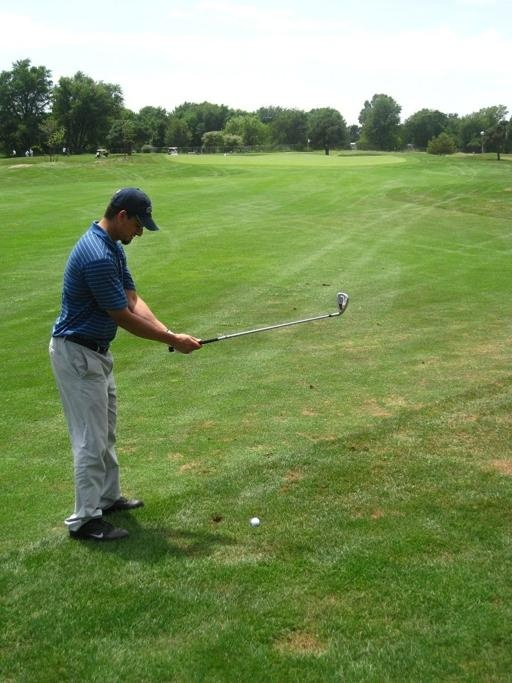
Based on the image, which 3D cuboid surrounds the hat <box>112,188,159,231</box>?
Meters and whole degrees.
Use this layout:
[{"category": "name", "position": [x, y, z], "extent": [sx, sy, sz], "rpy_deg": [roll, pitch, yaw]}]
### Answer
[{"category": "hat", "position": [-0.885, -0.971, 5.111], "extent": [0.325, 0.308, 0.420], "rpy_deg": [0, 7, 3]}]

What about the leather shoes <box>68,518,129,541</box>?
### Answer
[{"category": "leather shoes", "position": [-1.139, 1.390, 5.056], "extent": [0.468, 0.163, 0.161], "rpy_deg": [0, -3, -5]}]

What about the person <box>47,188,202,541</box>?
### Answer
[{"category": "person", "position": [-1.067, 0.153, 5.151], "extent": [0.577, 2.548, 0.801], "rpy_deg": [6, 11, 40]}]

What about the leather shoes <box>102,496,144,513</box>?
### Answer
[{"category": "leather shoes", "position": [-1.061, 1.299, 5.570], "extent": [0.320, 0.112, 0.109], "rpy_deg": [-4, 7, -15]}]
